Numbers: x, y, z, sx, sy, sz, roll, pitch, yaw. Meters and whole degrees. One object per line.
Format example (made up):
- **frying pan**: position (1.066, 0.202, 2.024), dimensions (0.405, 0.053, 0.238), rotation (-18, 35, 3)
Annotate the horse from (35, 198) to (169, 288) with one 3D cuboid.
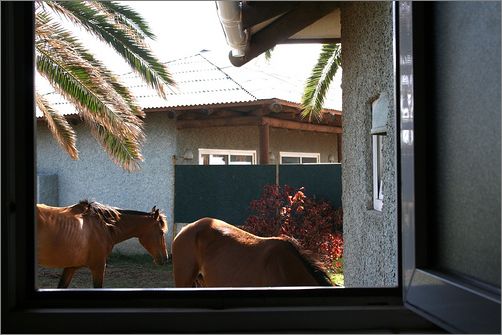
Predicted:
- **horse**: position (-1.946, 0.974, 6.855), dimensions (0.513, 1.005, 1.739), rotation (-1, 0, 38)
